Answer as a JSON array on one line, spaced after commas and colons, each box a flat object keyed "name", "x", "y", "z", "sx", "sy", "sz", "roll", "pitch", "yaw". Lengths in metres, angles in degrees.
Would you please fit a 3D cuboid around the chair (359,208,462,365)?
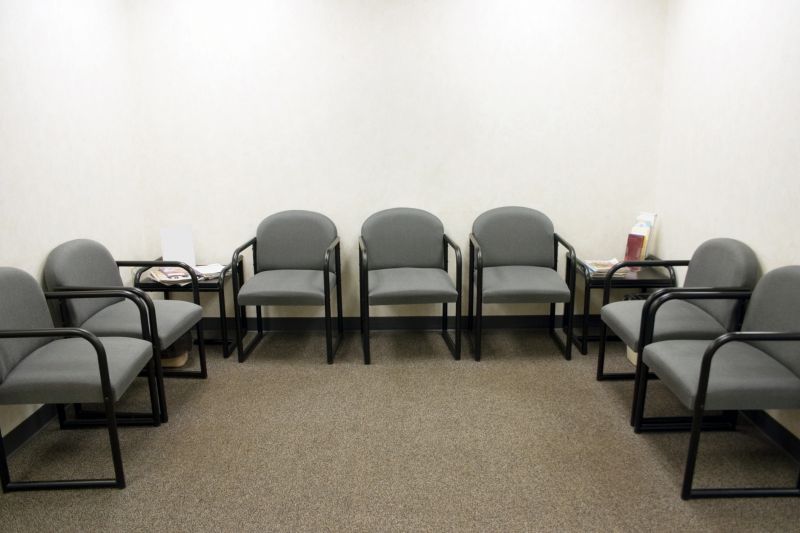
[{"name": "chair", "x": 0.085, "y": 0.136, "z": 4.704, "sx": 0.852, "sy": 1.193, "sz": 0.743, "roll": 0, "pitch": 13, "yaw": -2}]

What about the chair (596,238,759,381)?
[{"name": "chair", "x": 1.942, "y": 0.370, "z": 3.996, "sx": 0.896, "sy": 1.112, "sz": 0.810, "roll": -7, "pitch": 17, "yaw": -10}]

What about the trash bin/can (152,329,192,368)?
[{"name": "trash bin/can", "x": -1.748, "y": 0.672, "z": 4.396, "sx": 0.219, "sy": 0.328, "sz": 0.287, "roll": 0, "pitch": -6, "yaw": -6}]

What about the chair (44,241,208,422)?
[{"name": "chair", "x": -1.968, "y": 0.422, "z": 4.097, "sx": 0.896, "sy": 1.136, "sz": 0.908, "roll": 6, "pitch": 13, "yaw": 5}]

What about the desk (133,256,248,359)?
[{"name": "desk", "x": -1.762, "y": 0.295, "z": 4.915, "sx": 0.753, "sy": 0.893, "sz": 0.862, "roll": -1, "pitch": 7, "yaw": -4}]

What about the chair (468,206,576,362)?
[{"name": "chair", "x": 1.022, "y": 0.119, "z": 4.702, "sx": 0.883, "sy": 1.185, "sz": 0.807, "roll": 2, "pitch": 13, "yaw": 6}]

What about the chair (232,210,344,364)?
[{"name": "chair", "x": -0.925, "y": 0.150, "z": 4.703, "sx": 0.891, "sy": 1.174, "sz": 0.781, "roll": -1, "pitch": 13, "yaw": -8}]

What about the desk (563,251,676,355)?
[{"name": "desk", "x": 1.865, "y": 0.261, "z": 4.697, "sx": 0.709, "sy": 0.831, "sz": 0.814, "roll": -1, "pitch": 8, "yaw": 0}]
